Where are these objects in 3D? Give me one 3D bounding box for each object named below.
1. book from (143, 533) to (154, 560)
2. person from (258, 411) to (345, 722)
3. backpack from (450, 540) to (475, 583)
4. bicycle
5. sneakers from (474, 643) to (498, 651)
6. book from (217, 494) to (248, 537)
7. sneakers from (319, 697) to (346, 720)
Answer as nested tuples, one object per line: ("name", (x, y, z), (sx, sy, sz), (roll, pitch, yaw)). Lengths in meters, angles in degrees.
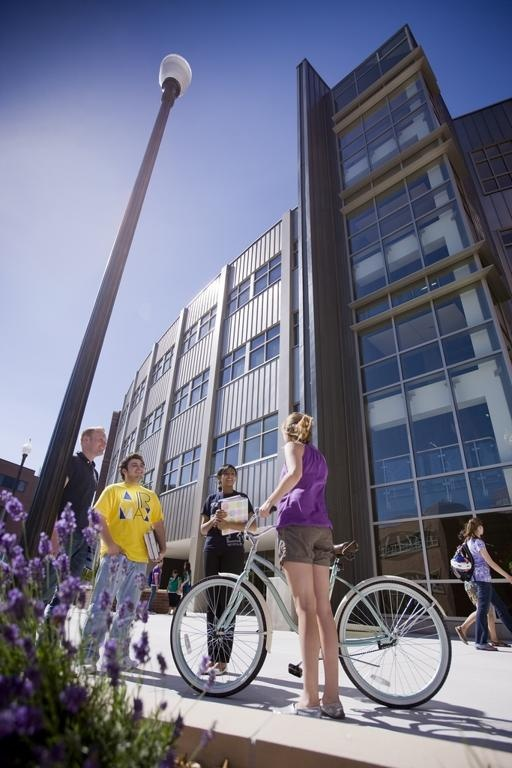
("book", (-0.899, 1.399, 3.141), (0.050, 0.180, 0.185), (-14, -14, 7))
("person", (0.298, 1.031, 2.459), (0.430, 1.857, 0.427), (-4, -26, 10))
("backpack", (3.121, 2.678, 5.529), (0.217, 0.373, 0.533), (4, 21, 10))
("bicycle", (0.363, 1.731, 2.807), (2.122, 1.199, 0.887), (-2, -5, 7))
("sneakers", (3.276, 3.720, 5.147), (0.292, 0.112, 0.117), (1, -21, -5))
("book", (-0.200, 1.240, 3.452), (0.348, 0.322, 0.325), (6, -21, -37))
("sneakers", (0.423, 1.792, 1.995), (0.129, 0.089, 0.137), (-3, -25, 9))
